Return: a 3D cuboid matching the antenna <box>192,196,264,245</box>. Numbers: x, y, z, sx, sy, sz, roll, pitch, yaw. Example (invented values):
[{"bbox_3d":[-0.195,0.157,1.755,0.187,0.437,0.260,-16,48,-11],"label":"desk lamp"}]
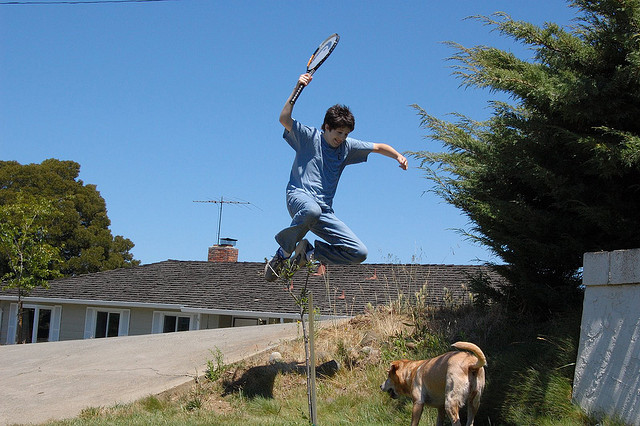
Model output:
[{"bbox_3d":[-2.551,0.496,13.282,1.878,1.393,1.962,3,-7,-13],"label":"antenna"}]
